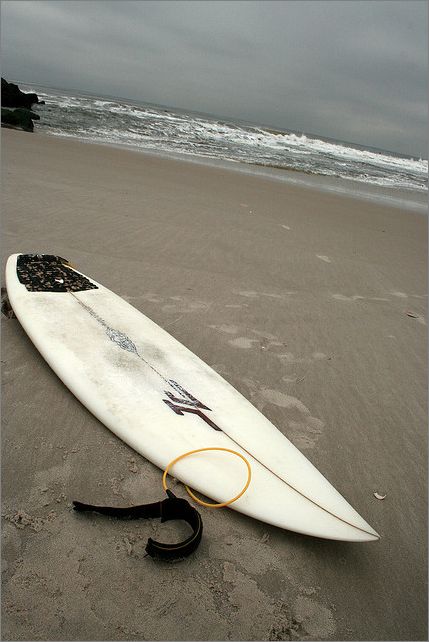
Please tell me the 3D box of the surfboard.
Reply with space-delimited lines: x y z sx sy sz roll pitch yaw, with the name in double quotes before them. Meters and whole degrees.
"surfboard" -0.496 0.282 3.068 0.813 0.425 2.984 -14 29 -35
